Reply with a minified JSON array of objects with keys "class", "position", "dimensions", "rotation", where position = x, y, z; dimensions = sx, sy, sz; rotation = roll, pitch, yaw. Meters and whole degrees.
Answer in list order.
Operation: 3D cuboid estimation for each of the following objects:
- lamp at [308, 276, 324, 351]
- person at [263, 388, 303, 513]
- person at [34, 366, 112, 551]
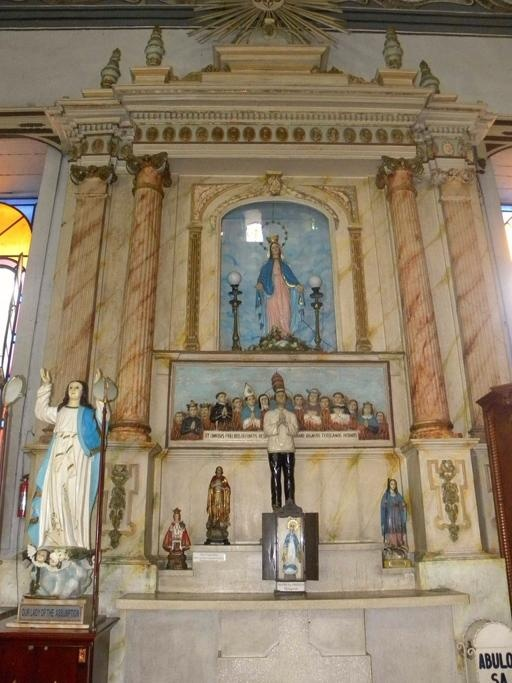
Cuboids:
[{"class":"lamp","position":[0.647,-0.289,5.965],"dimensions":[0.154,0.828,0.338],"rotation":[-2,-16,6]},{"class":"person","position":[0.195,0.837,4.421],"dimensions":[0.245,0.914,0.279],"rotation":[0,-16,-2]},{"class":"person","position":[-1.198,0.730,3.580],"dimensions":[0.427,1.092,0.292],"rotation":[4,-16,-15]}]
